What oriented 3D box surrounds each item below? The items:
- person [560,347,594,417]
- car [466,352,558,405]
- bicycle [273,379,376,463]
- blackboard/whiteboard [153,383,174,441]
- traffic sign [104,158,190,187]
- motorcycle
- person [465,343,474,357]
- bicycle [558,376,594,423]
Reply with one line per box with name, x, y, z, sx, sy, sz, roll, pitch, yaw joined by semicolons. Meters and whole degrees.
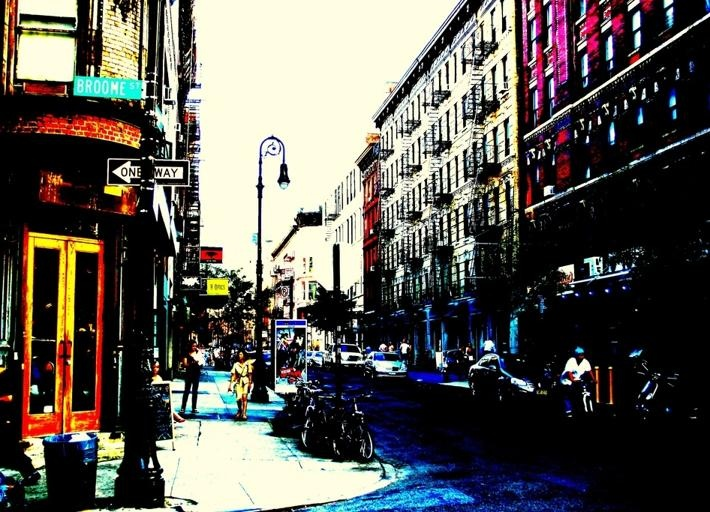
person;6.996;4.026;24.832;1.055;1.266;1.888;-1;-19;-2
car;5.379;4.372;28.863;0.858;1.909;4.470;0;-14;-16
bicycle;-0.436;4.048;19.316;1.251;1.640;3.118;8;-10;-27
blackboard/whiteboard;-4.474;3.604;18.641;0.453;1.372;1.125;0;-12;-12
traffic sign;-3.847;-1.600;14.929;1.474;0.643;0.513;2;-12;-21
motorcycle;8.960;3.911;23.496;1.382;2.072;2.846;0;-13;-13
person;6.293;5.272;44.453;0.469;0.703;1.016;-4;15;-4
bicycle;6.825;4.310;24.672;0.884;1.374;0.723;-6;-11;17
